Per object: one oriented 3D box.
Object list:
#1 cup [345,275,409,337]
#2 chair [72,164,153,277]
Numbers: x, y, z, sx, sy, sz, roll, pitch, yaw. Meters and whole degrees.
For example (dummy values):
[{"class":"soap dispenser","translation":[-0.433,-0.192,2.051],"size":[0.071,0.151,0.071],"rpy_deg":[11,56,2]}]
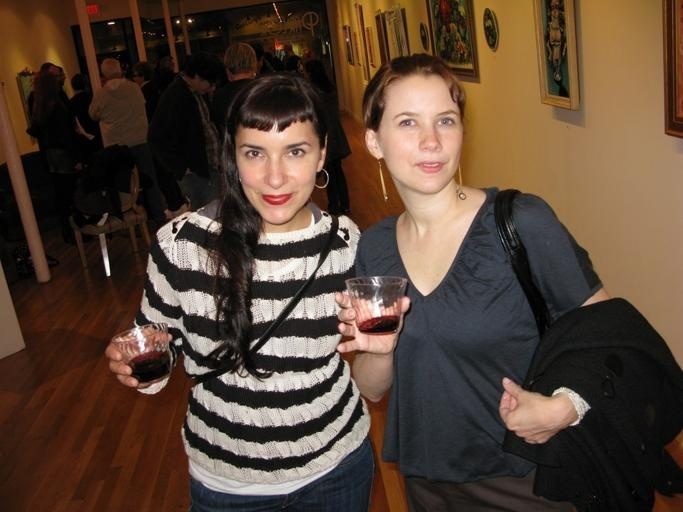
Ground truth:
[{"class":"cup","translation":[0.106,0.140,1.429],"size":[0.158,0.150,0.168],"rpy_deg":[-2,3,0]},{"class":"chair","translation":[-3.072,-0.475,6.431],"size":[0.832,1.547,0.980],"rpy_deg":[0,30,-7]}]
